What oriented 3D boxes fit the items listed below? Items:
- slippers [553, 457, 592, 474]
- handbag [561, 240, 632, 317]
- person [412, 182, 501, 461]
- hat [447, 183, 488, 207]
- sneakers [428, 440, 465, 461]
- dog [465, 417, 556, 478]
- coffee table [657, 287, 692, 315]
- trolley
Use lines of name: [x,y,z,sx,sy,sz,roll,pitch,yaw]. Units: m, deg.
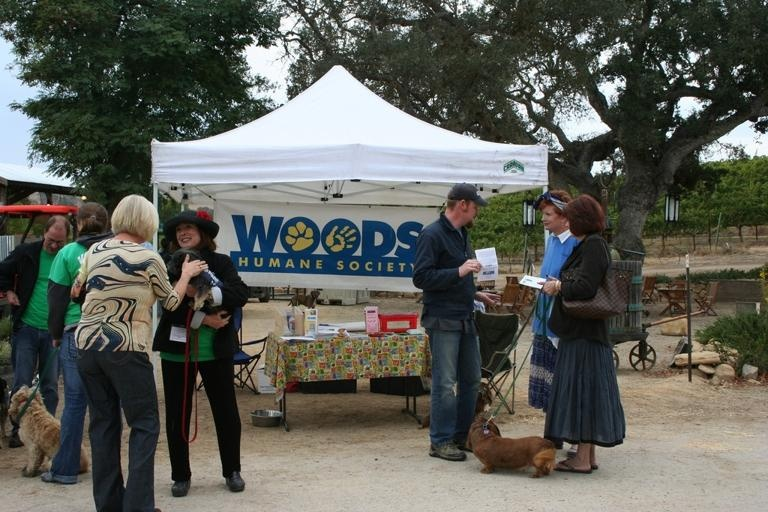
slippers: [2.486,2.736,12.235,0.464,0.140,0.195,2,-2,10]
handbag: [2.806,0.249,12.303,1.107,1.195,0.535,-1,-10,3]
person: [0.878,0.857,12.625,0.879,3.583,1.060,7,15,26]
hat: [1.115,-0.825,12.551,0.426,0.239,0.286,1,7,-5]
sneakers: [0.842,2.610,12.543,0.437,0.220,0.216,-1,0,20]
dog: [1.672,2.531,12.326,1.253,0.746,0.464,3,-11,28]
coffee table: [7.347,1.144,23.506,0.709,0.984,0.760,-1,3,-8]
trolley: [4.767,0.975,16.680,0.993,2.076,1.247,1,-3,-36]
